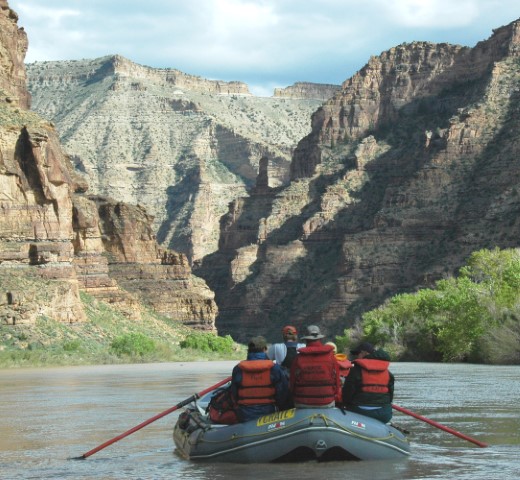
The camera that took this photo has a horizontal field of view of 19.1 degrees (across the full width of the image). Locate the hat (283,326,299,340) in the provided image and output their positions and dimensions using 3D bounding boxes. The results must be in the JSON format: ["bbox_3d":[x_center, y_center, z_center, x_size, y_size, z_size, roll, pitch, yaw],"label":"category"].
[{"bbox_3d":[1.123,3.559,59.098,0.412,0.485,0.574,0,-31,2],"label":"hat"}]

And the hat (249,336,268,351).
[{"bbox_3d":[-0.098,3.902,57.723,0.445,0.372,0.660,13,19,41],"label":"hat"}]

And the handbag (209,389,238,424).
[{"bbox_3d":[-1.410,6.273,58.122,1.246,1.250,1.027,4,-13,1],"label":"handbag"}]
